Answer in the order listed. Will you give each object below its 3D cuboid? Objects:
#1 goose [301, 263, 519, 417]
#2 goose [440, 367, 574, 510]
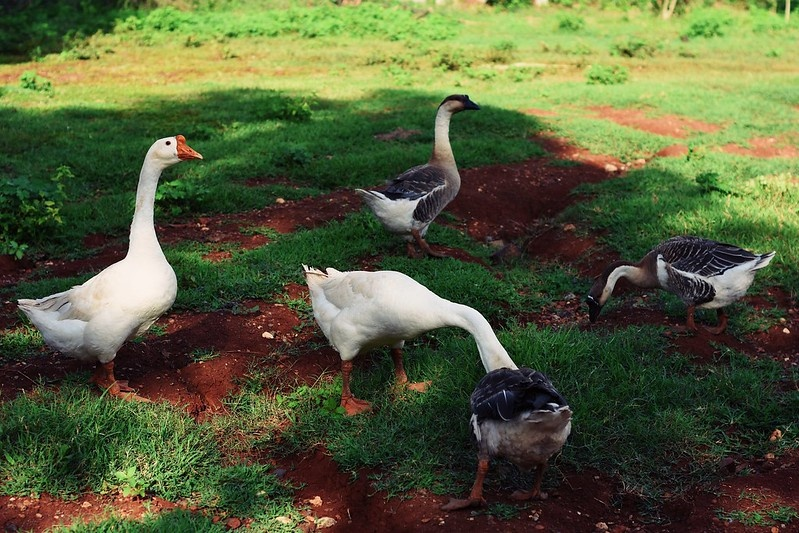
[{"bbox_3d":[0.000,0.727,9.827,3.037,1.254,1.374,17,19,32],"label":"goose"},{"bbox_3d":[1.307,1.984,8.673,1.321,1.428,0.906,-1,25,3],"label":"goose"}]
